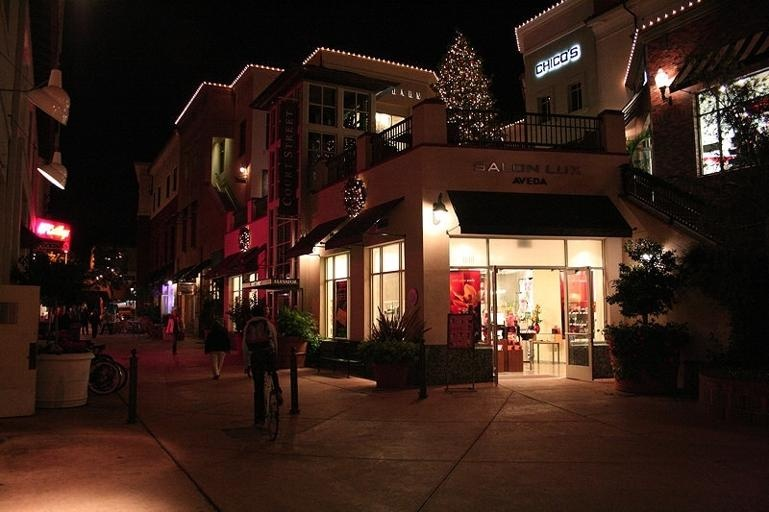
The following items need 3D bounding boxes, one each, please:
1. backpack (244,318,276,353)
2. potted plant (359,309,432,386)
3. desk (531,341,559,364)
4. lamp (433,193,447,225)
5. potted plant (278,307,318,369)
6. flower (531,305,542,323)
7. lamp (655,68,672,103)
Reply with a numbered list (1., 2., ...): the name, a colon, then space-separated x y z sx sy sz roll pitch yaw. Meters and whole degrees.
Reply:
1. backpack: -2.851 1.875 14.277 0.740 0.916 0.485 -6 5 -21
2. potted plant: 0.216 2.874 18.727 1.621 2.101 1.941 1 -13 2
3. desk: 5.795 3.438 22.359 0.746 0.853 1.960 -1 -5 8
4. lamp: 1.665 -1.425 18.695 0.427 0.977 0.475 -1 -5 14
5. potted plant: -3.081 2.959 22.658 0.844 2.120 1.639 -4 -7 37
6. flower: 5.478 2.059 22.156 0.472 0.695 0.483 2 4 6
7. lamp: 9.341 -5.770 21.065 0.495 1.240 0.532 4 -7 -38
